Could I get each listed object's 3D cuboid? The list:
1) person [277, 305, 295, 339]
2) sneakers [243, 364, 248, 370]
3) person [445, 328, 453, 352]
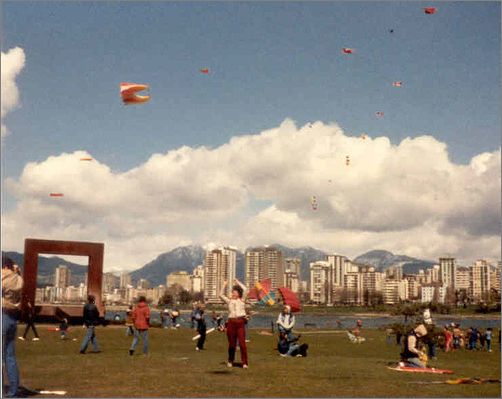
[{"bbox_3d":[1.833,6.308,52.518,0.783,1.515,1.186,-3,-13,11],"label":"person"},{"bbox_3d":[-0.264,8.014,47.894,0.156,0.211,0.223,4,-31,5],"label":"sneakers"},{"bbox_3d":[12.112,8.637,61.298,0.439,1.556,2.261,-3,-13,11],"label":"person"}]
